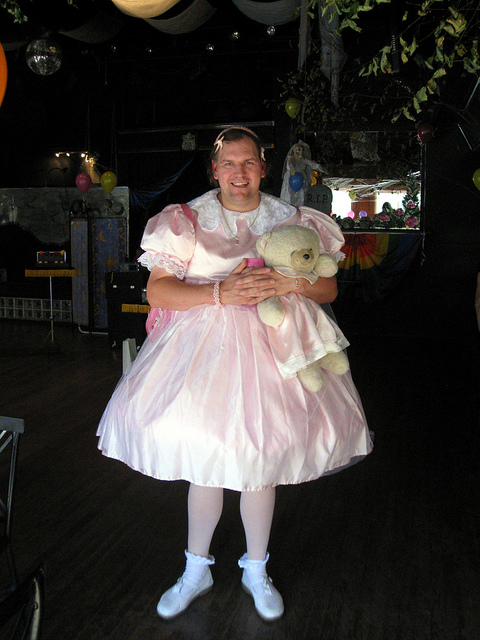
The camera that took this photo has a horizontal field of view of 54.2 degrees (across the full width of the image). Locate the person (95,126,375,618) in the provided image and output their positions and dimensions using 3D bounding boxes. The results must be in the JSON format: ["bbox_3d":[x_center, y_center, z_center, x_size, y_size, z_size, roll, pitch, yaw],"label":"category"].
[{"bbox_3d":[-0.011,-0.051,1.401,0.798,1.055,0.507,1,6,12],"label":"person"}]

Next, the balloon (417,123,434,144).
[{"bbox_3d":[2.311,-2.375,5.895,0.163,0.252,0.227,2,7,21],"label":"balloon"}]

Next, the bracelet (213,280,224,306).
[{"bbox_3d":[-0.057,-0.083,1.341,0.018,0.056,0.041,-5,-8,35],"label":"bracelet"}]

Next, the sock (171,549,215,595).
[{"bbox_3d":[-0.135,0.803,1.486,0.065,0.091,0.207,4,-19,15],"label":"sock"}]

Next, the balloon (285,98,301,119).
[{"bbox_3d":[0.660,-2.630,5.862,0.173,0.204,0.284,-8,-33,2],"label":"balloon"}]

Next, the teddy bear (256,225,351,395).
[{"bbox_3d":[0.136,-0.012,1.409,0.278,0.480,0.142,-8,-10,-28],"label":"teddy bear"}]

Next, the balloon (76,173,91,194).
[{"bbox_3d":[-2.601,-2.361,8.095,0.263,0.372,0.285,10,24,15],"label":"balloon"}]
